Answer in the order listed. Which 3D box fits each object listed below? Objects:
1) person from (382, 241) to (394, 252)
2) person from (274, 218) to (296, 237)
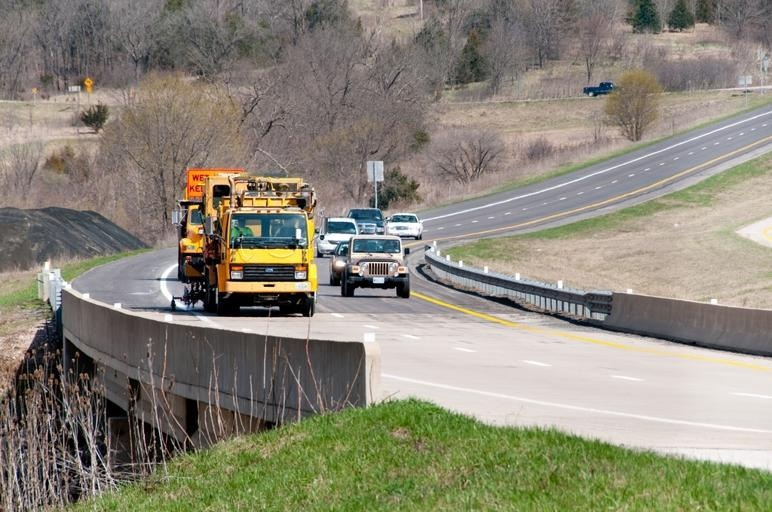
[{"bbox_3d":[0.250,-0.829,99.711,0.529,0.778,0.197,5,-14,-3],"label":"person"},{"bbox_3d":[-6.654,-2.051,92.991,1.234,1.219,0.300,7,2,1],"label":"person"}]
